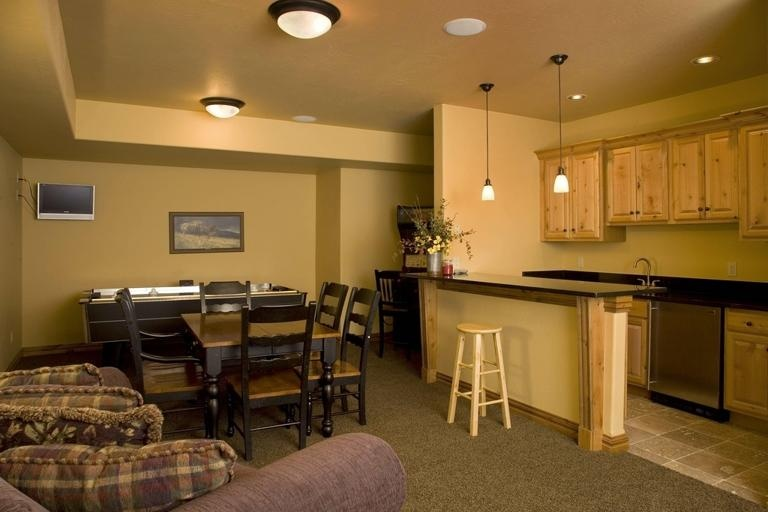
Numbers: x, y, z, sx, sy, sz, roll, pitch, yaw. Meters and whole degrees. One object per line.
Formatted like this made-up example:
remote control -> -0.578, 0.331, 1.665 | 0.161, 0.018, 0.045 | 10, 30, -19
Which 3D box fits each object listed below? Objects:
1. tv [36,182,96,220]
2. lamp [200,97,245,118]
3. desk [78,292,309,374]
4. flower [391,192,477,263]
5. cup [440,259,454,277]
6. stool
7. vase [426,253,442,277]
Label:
tv -> -4.209, -0.726, 7.141 | 0.544, 0.381, 0.072 | 1, -1, -24
lamp -> -1.807, -1.660, 6.110 | 0.482, 0.198, 0.289 | -3, 12, -17
desk -> -2.268, 0.897, 6.596 | 2.482, 1.011, 1.019 | -1, 1, -29
flower -> 0.646, -0.308, 6.401 | 0.826, 0.934, 0.831 | 1, 0, -31
cup -> 0.670, 0.121, 5.764 | 0.155, 0.167, 0.151 | 0, 2, 0
stool -> 0.856, 1.055, 4.935 | 0.585, 0.853, 0.575 | 0, 4, 14
vase -> 0.543, 0.066, 5.881 | 0.156, 0.222, 0.275 | 1, 12, 4
